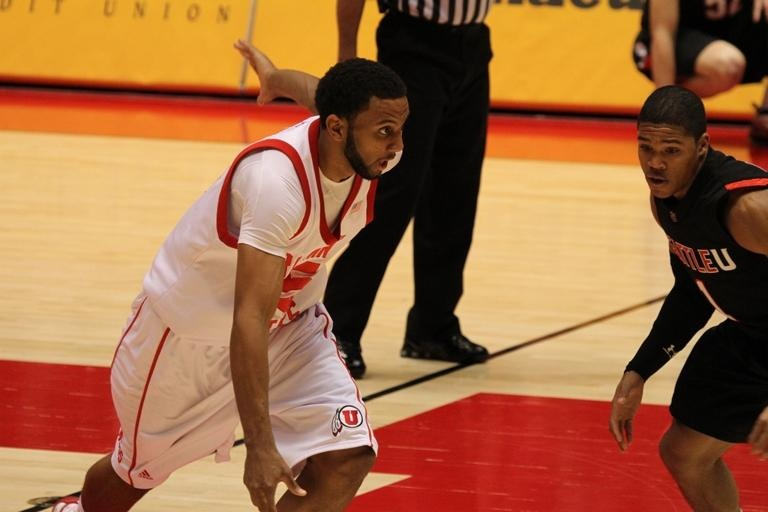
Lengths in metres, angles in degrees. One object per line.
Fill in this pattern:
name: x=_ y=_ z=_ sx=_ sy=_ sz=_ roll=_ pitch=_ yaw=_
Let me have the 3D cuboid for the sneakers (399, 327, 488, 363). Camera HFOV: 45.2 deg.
sneakers: x=0.280 y=0.431 z=4.408 sx=0.454 sy=0.181 sz=0.155 roll=1 pitch=-6 yaw=7
